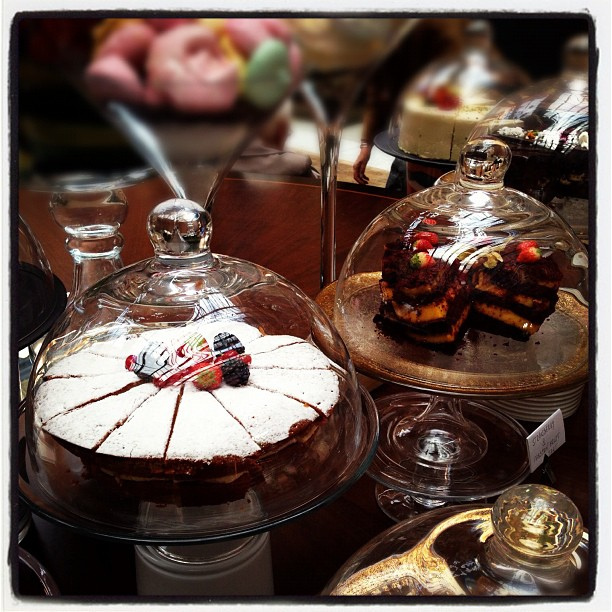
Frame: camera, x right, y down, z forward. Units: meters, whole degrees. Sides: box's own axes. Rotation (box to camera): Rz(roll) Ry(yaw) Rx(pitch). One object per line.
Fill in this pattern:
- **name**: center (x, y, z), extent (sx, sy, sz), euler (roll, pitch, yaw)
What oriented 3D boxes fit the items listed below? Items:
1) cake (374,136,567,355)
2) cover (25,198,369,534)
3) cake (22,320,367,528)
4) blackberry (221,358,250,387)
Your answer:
- **cake**: center (0.333, -0.127, 1.206), extent (0.486, 0.316, 0.424), euler (13, 30, 26)
- **cover**: center (-0.146, 0.104, 0.821), extent (0.531, 0.263, 0.425), euler (-7, 32, -11)
- **cake**: center (-0.155, 0.129, 0.740), extent (0.473, 0.170, 0.283), euler (1, 27, 2)
- **blackberry**: center (-0.085, 0.083, 0.727), extent (0.036, 0.032, 0.037), euler (-6, 2, 21)
